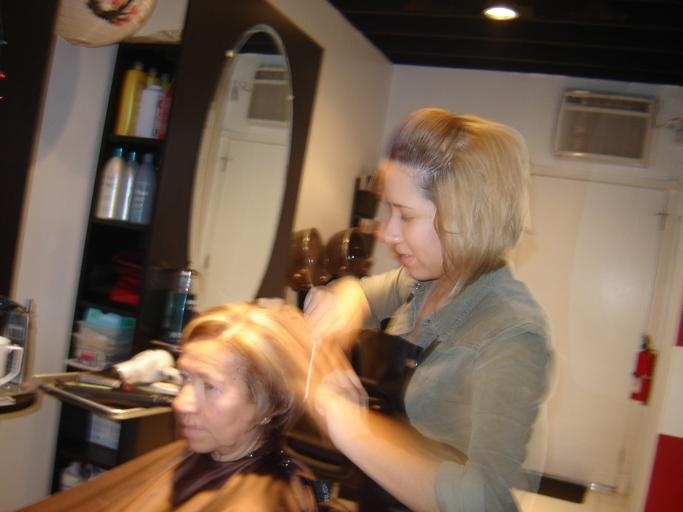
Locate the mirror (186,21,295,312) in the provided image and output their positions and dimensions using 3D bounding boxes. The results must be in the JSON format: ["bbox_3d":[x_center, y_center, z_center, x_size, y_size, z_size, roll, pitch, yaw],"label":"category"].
[{"bbox_3d":[-0.290,-0.269,1.506,0.114,0.797,0.373,8,-2,28],"label":"mirror"}]

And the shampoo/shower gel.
[{"bbox_3d":[-0.552,-0.177,1.406,0.135,0.206,0.054,9,-2,-22],"label":"shampoo/shower gel"}]

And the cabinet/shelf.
[{"bbox_3d":[-0.588,0.067,1.497,0.244,1.342,0.297,7,10,6],"label":"cabinet/shelf"}]

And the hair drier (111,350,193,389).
[{"bbox_3d":[-0.449,0.247,1.339,0.174,0.076,0.174,7,9,16],"label":"hair drier"}]

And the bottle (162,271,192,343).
[{"bbox_3d":[-0.426,0.129,1.441,0.074,0.180,0.071,10,11,-2],"label":"bottle"}]
